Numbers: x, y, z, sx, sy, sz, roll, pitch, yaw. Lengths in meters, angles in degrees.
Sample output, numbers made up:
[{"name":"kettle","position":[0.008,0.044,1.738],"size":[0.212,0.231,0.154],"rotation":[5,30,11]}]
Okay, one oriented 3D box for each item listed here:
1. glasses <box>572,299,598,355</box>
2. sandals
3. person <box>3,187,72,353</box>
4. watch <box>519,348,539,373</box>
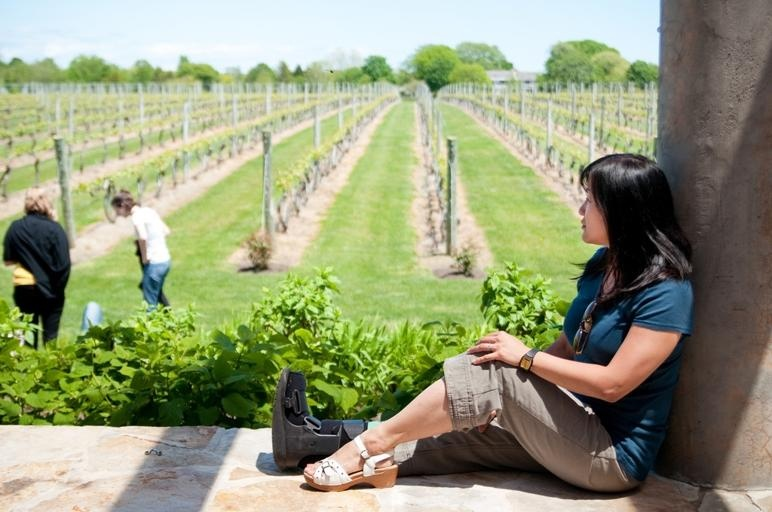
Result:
[{"name":"glasses","position":[0.996,0.358,3.183],"size":[0.064,0.244,0.150],"rotation":[14,-13,8]},{"name":"sandals","position":[-0.165,1.084,3.308],"size":[0.478,0.275,0.232],"rotation":[3,-10,0]},{"name":"person","position":[-3.688,0.114,6.712],"size":[0.585,1.524,0.524],"rotation":[-8,16,-30]},{"name":"watch","position":[0.682,0.500,3.105],"size":[0.072,0.110,0.117],"rotation":[26,64,27]}]
